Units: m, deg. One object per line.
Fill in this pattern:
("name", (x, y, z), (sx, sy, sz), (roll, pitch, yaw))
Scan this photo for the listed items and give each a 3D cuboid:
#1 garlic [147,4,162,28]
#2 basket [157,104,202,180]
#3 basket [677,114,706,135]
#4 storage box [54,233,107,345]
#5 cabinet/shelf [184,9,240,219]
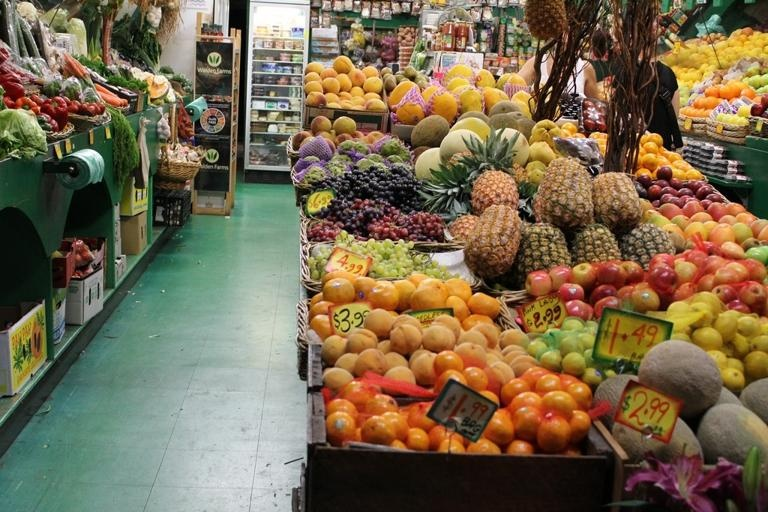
("garlic", (-3.148, -3.326, 7.685), (0.190, 0.252, 0.077), (3, 13, -6))
("basket", (-2.518, -1.319, 6.849), (0.516, 1.007, 0.614), (-3, 20, -7))
("basket", (4.086, -1.732, 7.341), (0.210, 0.110, 0.266), (-3, 8, -44))
("storage box", (-2.262, 0.268, 4.132), (0.369, 0.467, 0.716), (1, 30, -9))
("cabinet/shelf", (-2.635, -2.102, 8.494), (0.619, 2.525, 1.390), (0, 21, -21))
